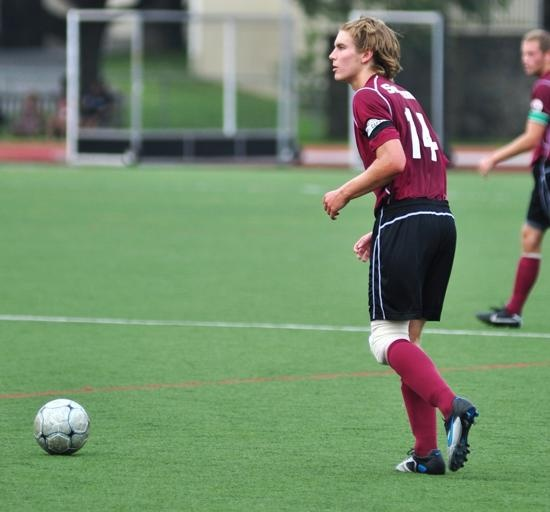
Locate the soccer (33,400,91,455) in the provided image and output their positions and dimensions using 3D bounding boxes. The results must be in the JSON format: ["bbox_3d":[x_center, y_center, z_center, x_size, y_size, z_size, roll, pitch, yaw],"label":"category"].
[{"bbox_3d":[-0.926,0.768,5.831,0.230,0.206,0.204,5,9,19],"label":"soccer"}]

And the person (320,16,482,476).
[{"bbox_3d":[0.538,-0.031,5.587,0.806,1.917,0.675,6,10,21],"label":"person"}]

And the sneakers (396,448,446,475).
[{"bbox_3d":[0.611,0.884,5.636,0.183,0.083,0.095,1,-1,33],"label":"sneakers"}]

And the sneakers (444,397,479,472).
[{"bbox_3d":[0.748,0.715,5.358,0.158,0.331,0.103,16,27,30],"label":"sneakers"}]

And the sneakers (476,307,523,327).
[{"bbox_3d":[1.411,0.393,8.385,0.299,0.137,0.111,5,1,22],"label":"sneakers"}]
